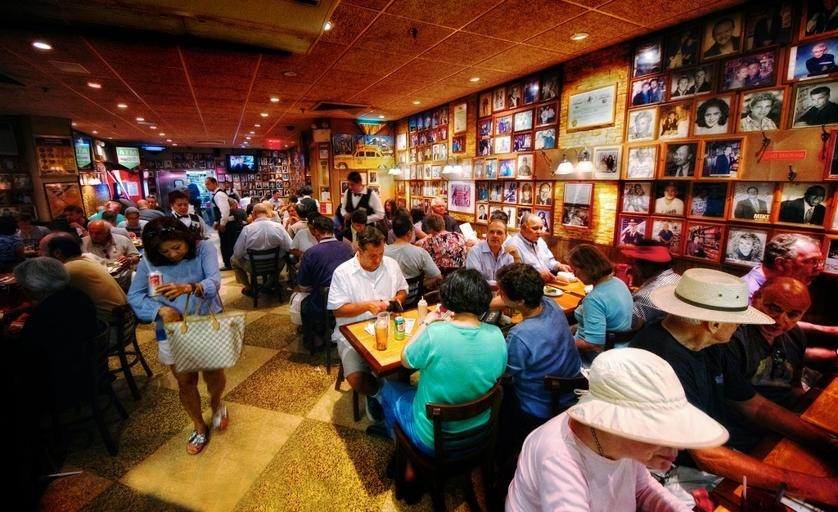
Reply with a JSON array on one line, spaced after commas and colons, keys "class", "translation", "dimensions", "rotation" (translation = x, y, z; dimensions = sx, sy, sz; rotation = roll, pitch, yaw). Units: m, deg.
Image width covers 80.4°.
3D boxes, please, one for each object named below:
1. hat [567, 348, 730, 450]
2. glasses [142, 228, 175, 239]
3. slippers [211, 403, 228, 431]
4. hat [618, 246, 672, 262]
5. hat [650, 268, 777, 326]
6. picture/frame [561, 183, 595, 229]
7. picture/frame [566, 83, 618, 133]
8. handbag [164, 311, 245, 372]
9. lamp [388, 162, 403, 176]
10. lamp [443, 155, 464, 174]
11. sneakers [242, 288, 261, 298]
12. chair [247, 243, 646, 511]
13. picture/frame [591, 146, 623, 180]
[{"class": "hat", "translation": [1.997, 1.296, 4.378], "dimensions": [1.134, 0.524, 0.970], "rotation": [-5, -6, 40]}, {"class": "glasses", "translation": [-2.922, -0.255, 5.517], "dimensions": [0.158, 0.044, 0.154], "rotation": [-3, -31, -20]}, {"class": "slippers", "translation": [-2.409, 1.941, 5.978], "dimensions": [0.119, 0.357, 0.147], "rotation": [7, 13, -20]}, {"class": "hat", "translation": [2.805, -0.027, 6.074], "dimensions": [0.493, 0.124, 0.430], "rotation": [2, 8, 5]}, {"class": "hat", "translation": [2.807, 0.405, 4.834], "dimensions": [0.822, 0.281, 0.711], "rotation": [4, 14, 18]}, {"class": "picture/frame", "translation": [2.680, -0.855, 8.292], "dimensions": [0.122, 0.986, 0.753], "rotation": [-2, 7, -32]}, {"class": "picture/frame", "translation": [2.792, -2.390, 7.914], "dimensions": [0.068, 0.705, 0.908], "rotation": [-1, 7, -43]}, {"class": "handbag", "translation": [-2.406, 0.863, 5.611], "dimensions": [0.860, 0.798, 0.339], "rotation": [-7, 6, -7]}, {"class": "lamp", "translation": [-0.647, -2.205, 12.655], "dimensions": [0.443, 0.443, 0.426], "rotation": [2, 8, 16]}, {"class": "lamp", "translation": [0.712, -1.918, 10.311], "dimensions": [0.430, 0.347, 0.436], "rotation": [0, 3, -5]}, {"class": "sneakers", "translation": [-3.023, 0.645, 8.830], "dimensions": [0.469, 0.185, 0.160], "rotation": [2, 3, 40]}, {"class": "chair", "translation": [0.339, 1.217, 6.082], "dimensions": [2.768, 1.666, 2.671], "rotation": [-7, 10, -33]}, {"class": "picture/frame", "translation": [2.973, -1.481, 7.789], "dimensions": [0.046, 0.581, 0.524], "rotation": [-4, 11, -35]}]
